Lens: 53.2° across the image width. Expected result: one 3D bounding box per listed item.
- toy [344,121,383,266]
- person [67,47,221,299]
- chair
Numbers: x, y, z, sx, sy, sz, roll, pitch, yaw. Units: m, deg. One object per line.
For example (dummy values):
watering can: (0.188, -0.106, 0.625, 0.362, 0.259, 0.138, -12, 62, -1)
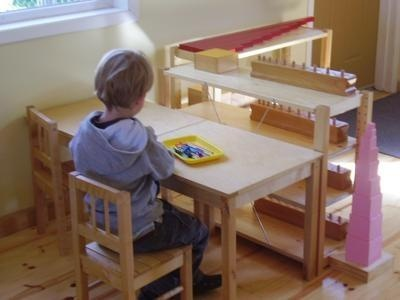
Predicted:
toy: (0.894, 0.247, 2.130, 0.189, 0.772, 0.232, 6, 23, 25)
person: (-0.227, 0.206, 1.796, 0.626, 1.278, 0.319, -8, 21, -11)
chair: (-0.431, 0.255, 1.903, 0.335, 0.625, 0.866, -23, 37, -38)
